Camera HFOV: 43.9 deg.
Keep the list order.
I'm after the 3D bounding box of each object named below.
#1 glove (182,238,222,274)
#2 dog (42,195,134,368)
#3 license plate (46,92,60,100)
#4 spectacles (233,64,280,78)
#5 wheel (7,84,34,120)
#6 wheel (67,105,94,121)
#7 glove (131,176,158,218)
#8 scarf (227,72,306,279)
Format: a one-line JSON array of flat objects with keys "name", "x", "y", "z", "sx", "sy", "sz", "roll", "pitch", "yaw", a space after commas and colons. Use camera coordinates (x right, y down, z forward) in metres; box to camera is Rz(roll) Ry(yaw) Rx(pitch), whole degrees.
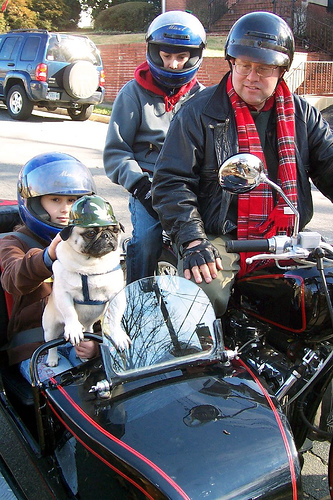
[{"name": "glove", "x": 0.133, "y": 0.021, "z": 1.629, "sx": 0.136, "sy": 0.095, "sz": 0.168, "roll": 0, "pitch": 18, "yaw": -1}, {"name": "dog", "x": -0.375, "y": 0.141, "z": 1.858, "sx": 0.350, "sy": 0.628, "sz": 0.742, "roll": 2, "pitch": -7, "yaw": -20}, {"name": "license plate", "x": -3.272, "y": -4.403, "z": 11.825, "sx": 0.291, "sy": 0.163, "sz": 0.036, "roll": -8, "pitch": 25, "yaw": -28}, {"name": "spectacles", "x": 0.396, "y": -0.797, "z": 1.849, "sx": 0.182, "sy": 0.058, "sz": 0.056, "roll": 4, "pitch": 18, "yaw": 11}, {"name": "wheel", "x": -4.450, "y": -4.434, "z": 12.476, "sx": 0.970, "sy": 1.001, "sz": 0.368, "roll": 14, "pitch": 23, "yaw": 37}, {"name": "wheel", "x": -2.822, "y": -4.471, "z": 13.577, "sx": 0.713, "sy": 0.473, "sz": 0.499, "roll": 16, "pitch": 24, "yaw": 41}, {"name": "glove", "x": -0.152, "y": -0.361, "z": 2.893, "sx": 0.129, "sy": 0.289, "sz": 0.287, "roll": -10, "pitch": 20, "yaw": -27}, {"name": "scarf", "x": 0.443, "y": -0.343, "z": 1.870, "sx": 0.358, "sy": 0.901, "sz": 0.715, "roll": 2, "pitch": 18, "yaw": 6}]
